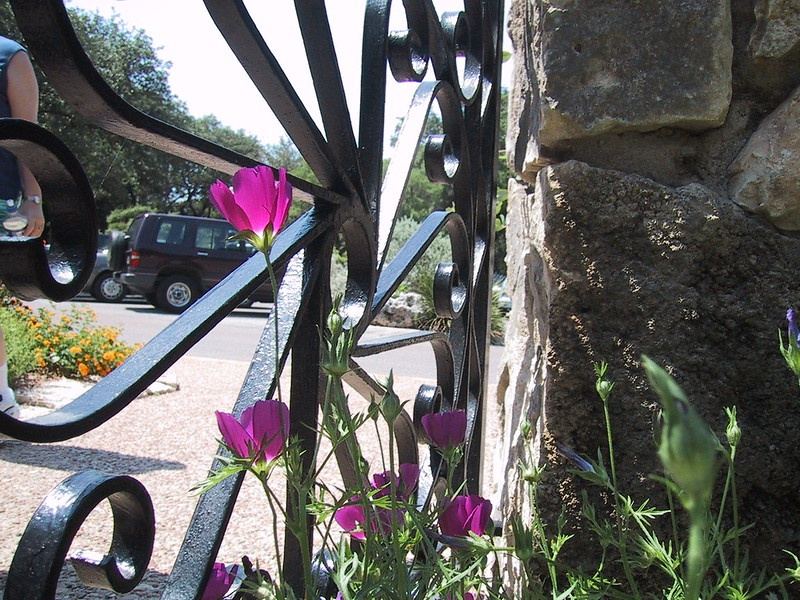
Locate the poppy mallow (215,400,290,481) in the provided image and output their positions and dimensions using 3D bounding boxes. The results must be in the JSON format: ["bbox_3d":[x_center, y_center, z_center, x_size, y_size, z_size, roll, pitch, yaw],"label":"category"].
[{"bbox_3d":[-0.173,0.150,0.767,0.091,0.095,0.081,4,19,-28],"label":"poppy mallow"}]

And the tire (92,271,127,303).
[{"bbox_3d":[-5.714,-0.279,12.916,0.495,0.591,0.175,-2,4,-6],"label":"tire"}]

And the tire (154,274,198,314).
[{"bbox_3d":[-3.740,-0.162,10.954,0.585,0.696,0.207,1,6,-10],"label":"tire"}]

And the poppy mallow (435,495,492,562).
[{"bbox_3d":[0.099,0.325,0.963,0.063,0.080,0.074,2,-12,11],"label":"poppy mallow"}]

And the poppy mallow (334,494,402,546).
[{"bbox_3d":[-0.043,0.294,0.879,0.092,0.102,0.044,11,-26,-26],"label":"poppy mallow"}]

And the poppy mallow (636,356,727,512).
[{"bbox_3d":[0.199,0.096,0.460,0.085,0.101,0.033,13,-9,-39],"label":"poppy mallow"}]

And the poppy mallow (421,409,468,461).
[{"bbox_3d":[0.073,0.187,0.981,0.062,0.070,0.076,-6,5,20],"label":"poppy mallow"}]
